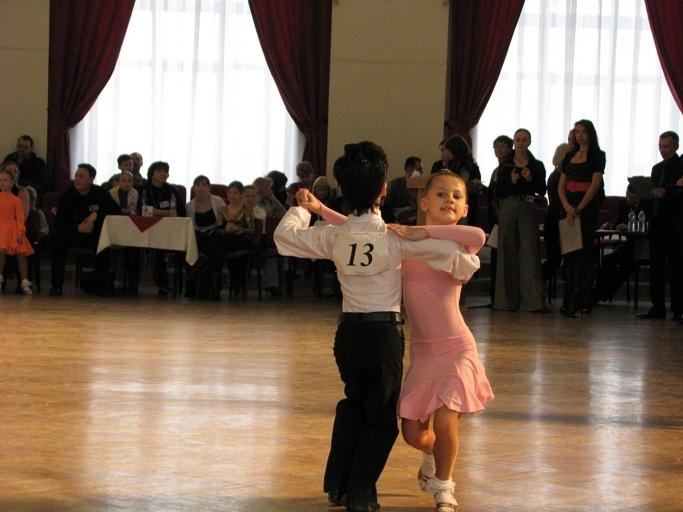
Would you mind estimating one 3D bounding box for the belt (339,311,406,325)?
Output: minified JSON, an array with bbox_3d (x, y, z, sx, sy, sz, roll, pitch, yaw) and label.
[{"bbox_3d":[0.113,0.221,2.716,0.233,0.042,0.129,1,-2,-2],"label":"belt"}]
